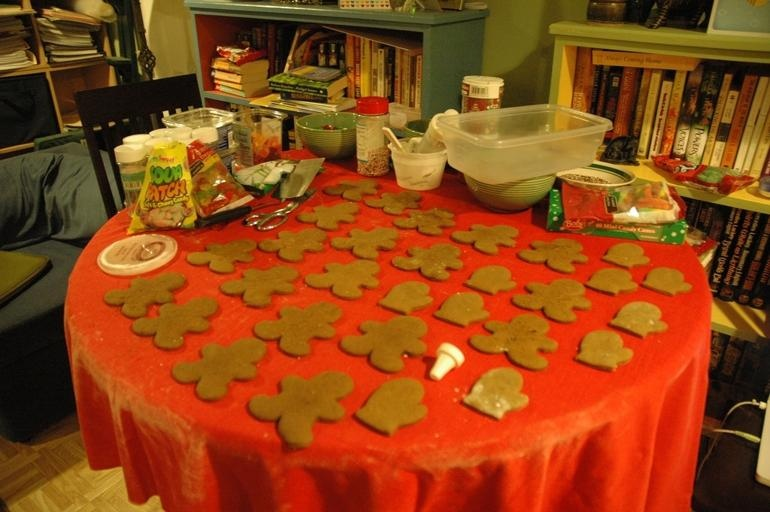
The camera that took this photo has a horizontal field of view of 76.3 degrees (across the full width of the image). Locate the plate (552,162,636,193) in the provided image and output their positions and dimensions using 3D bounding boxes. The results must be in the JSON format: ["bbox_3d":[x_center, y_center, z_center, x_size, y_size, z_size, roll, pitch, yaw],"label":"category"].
[{"bbox_3d":[0.660,-0.244,1.507,0.149,0.036,0.141,-9,31,-8],"label":"plate"}]

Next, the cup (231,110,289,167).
[{"bbox_3d":[-0.434,-0.400,1.697,0.185,0.135,0.190,1,32,-1],"label":"cup"}]

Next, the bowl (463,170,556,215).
[{"bbox_3d":[0.365,-0.177,1.449,0.152,0.077,0.148,-2,24,1],"label":"bowl"}]

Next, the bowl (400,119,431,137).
[{"bbox_3d":[0.104,-0.434,1.658,0.080,0.056,0.073,-2,33,2],"label":"bowl"}]

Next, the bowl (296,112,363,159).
[{"bbox_3d":[-0.211,-0.461,1.746,0.200,0.094,0.189,-1,27,1],"label":"bowl"}]

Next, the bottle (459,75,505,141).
[{"bbox_3d":[0.303,-0.515,1.617,0.150,0.146,0.151,14,31,33],"label":"bottle"}]

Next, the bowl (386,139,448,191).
[{"bbox_3d":[0.122,-0.296,1.602,0.206,0.123,0.203,-3,22,1],"label":"bowl"}]

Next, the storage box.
[{"bbox_3d":[0.416,-0.332,1.398,0.420,0.119,0.271,-14,31,-20],"label":"storage box"}]
